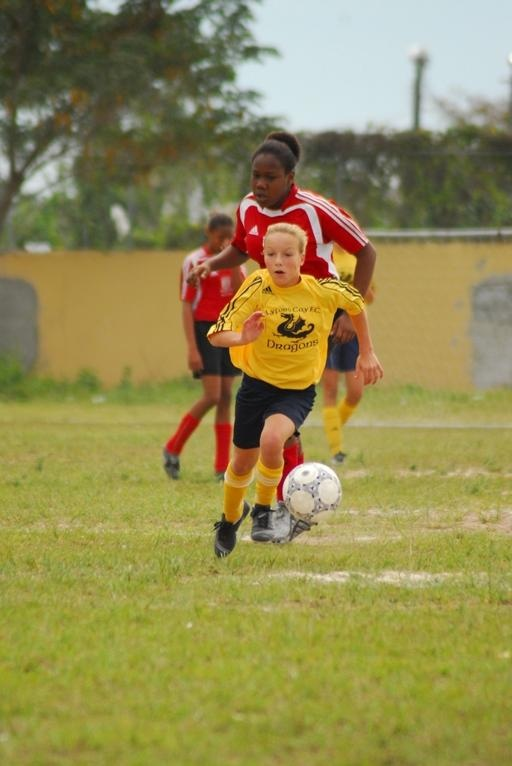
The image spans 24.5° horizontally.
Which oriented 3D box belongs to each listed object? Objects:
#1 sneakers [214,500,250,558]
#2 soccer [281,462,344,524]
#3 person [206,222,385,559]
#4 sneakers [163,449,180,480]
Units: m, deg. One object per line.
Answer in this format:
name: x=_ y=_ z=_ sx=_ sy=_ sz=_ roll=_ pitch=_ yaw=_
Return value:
sneakers: x=-0.102 y=0.542 z=4.297 sx=0.079 sy=0.213 sz=0.095 roll=18 pitch=7 yaw=11
soccer: x=0.202 y=0.409 z=4.360 sx=0.225 sy=0.220 sz=0.209 roll=-3 pitch=-11 yaw=-12
person: x=0.092 y=0.047 z=4.073 sx=0.639 sy=1.176 sz=0.631 roll=3 pitch=6 yaw=28
sneakers: x=-0.430 y=0.414 z=6.007 sx=0.076 sy=0.137 sz=0.154 roll=0 pitch=5 yaw=-2
